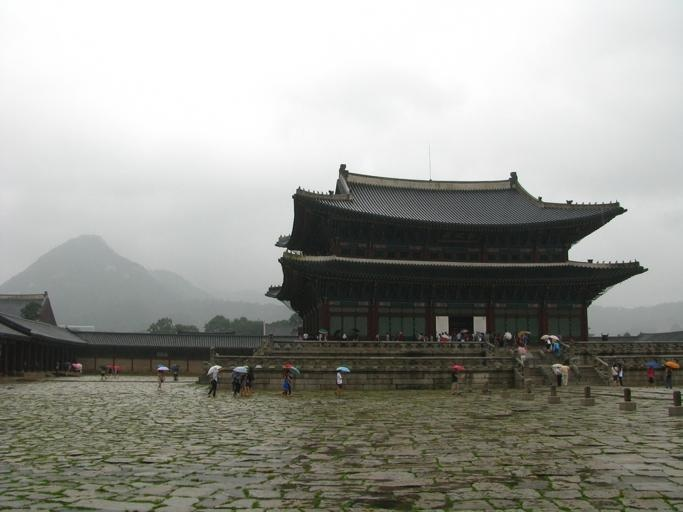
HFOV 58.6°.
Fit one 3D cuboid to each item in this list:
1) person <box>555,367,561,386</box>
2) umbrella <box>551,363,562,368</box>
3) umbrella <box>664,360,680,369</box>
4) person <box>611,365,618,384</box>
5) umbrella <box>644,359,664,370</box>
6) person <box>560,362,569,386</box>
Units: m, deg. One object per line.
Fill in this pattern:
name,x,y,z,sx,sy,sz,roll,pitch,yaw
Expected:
person,13.124,7.260,36.589,0.315,1.088,1.233,-4,-14,19
umbrella,13.197,6.718,37.244,0.639,0.207,0.667,-1,-6,10
umbrella,19.789,6.512,36.475,1.172,0.361,1.135,11,-11,-25
person,16.810,7.304,37.331,0.352,1.066,0.721,-3,-14,14
umbrella,19.788,6.814,38.420,0.836,0.266,0.848,-3,0,-43
person,13.574,7.273,36.817,0.429,1.170,1.798,-4,-14,19
